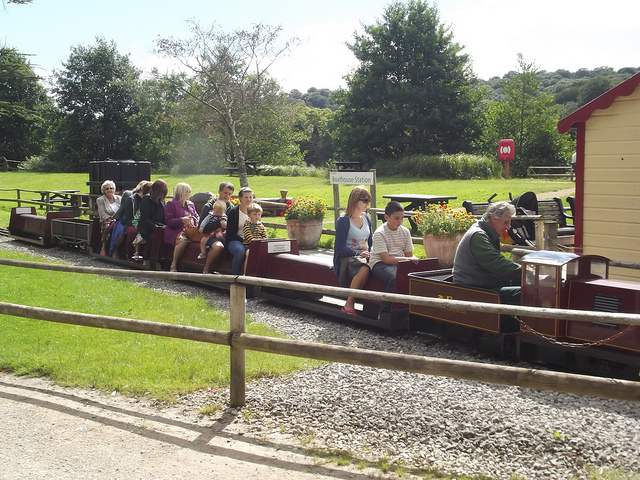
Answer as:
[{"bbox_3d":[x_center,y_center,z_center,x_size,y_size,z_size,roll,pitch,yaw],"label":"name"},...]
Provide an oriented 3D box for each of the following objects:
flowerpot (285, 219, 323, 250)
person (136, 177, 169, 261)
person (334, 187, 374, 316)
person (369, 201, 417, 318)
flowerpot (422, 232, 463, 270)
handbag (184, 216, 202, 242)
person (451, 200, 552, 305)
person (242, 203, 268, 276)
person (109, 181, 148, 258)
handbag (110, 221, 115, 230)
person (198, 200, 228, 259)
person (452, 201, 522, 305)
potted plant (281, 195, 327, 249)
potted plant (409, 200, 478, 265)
[{"bbox_3d":[-0.379,-0.194,16.318,0.992,0.829,1.027,2,11,16],"label":"flowerpot"},{"bbox_3d":[-3.419,-0.382,13.598,0.629,1.632,0.744,-3,10,-17],"label":"person"},{"bbox_3d":[0.496,-0.029,9.818,0.557,1.464,0.842,1,9,3],"label":"person"},{"bbox_3d":[1.060,0.069,9.436,0.625,1.228,0.662,-3,10,-17],"label":"person"},{"bbox_3d":[2.198,0.150,12.279,0.660,0.766,0.675,-1,4,-24],"label":"flowerpot"},{"bbox_3d":[-2.361,-0.161,12.783,0.353,0.526,0.180,11,-8,31],"label":"handbag"},{"bbox_3d":[2.332,0.342,8.672,1.069,1.610,0.895,8,18,33],"label":"person"},{"bbox_3d":[-1.118,-0.030,11.324,0.394,1.162,0.753,-1,9,-5],"label":"person"},{"bbox_3d":[-4.052,-0.371,14.630,0.655,2.011,0.615,24,28,27],"label":"person"},{"bbox_3d":[-4.678,-0.318,15.106,0.120,0.158,0.172,-2,-34,-5],"label":"handbag"},{"bbox_3d":[-1.900,-0.185,12.170,0.518,1.039,0.473,-1,-22,10],"label":"person"},{"bbox_3d":[2.046,0.072,8.995,1.076,1.662,0.968,-2,10,9],"label":"person"},{"bbox_3d":[-0.324,-0.397,16.136,0.945,1.186,0.872,-3,3,29],"label":"potted plant"},{"bbox_3d":[2.324,-0.174,12.627,1.145,1.272,1.085,0,0,3],"label":"potted plant"}]
